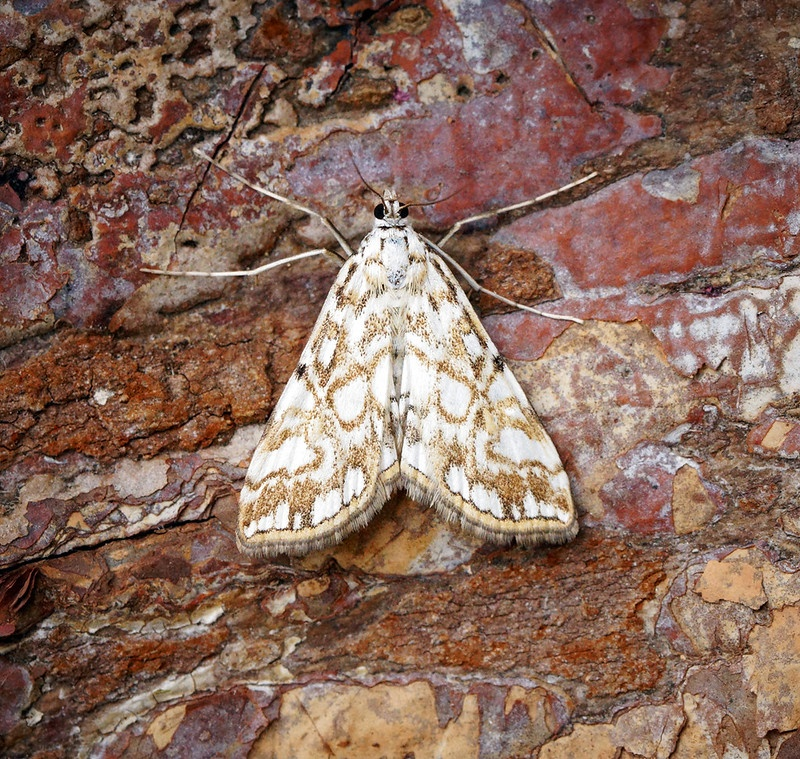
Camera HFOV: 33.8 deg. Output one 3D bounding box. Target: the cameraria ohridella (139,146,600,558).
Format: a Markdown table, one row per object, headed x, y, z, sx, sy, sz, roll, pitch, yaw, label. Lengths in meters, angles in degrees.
| x | y | z | sx | sy | sz | roll | pitch | yaw | label |
| --- | --- | --- | --- | --- | --- | --- | --- | --- | --- |
| 0.016 | 0.148 | 4.857 | 1.355 | 0.415 | 1.744 | -3 | 87 | 4 | cameraria ohridella |
